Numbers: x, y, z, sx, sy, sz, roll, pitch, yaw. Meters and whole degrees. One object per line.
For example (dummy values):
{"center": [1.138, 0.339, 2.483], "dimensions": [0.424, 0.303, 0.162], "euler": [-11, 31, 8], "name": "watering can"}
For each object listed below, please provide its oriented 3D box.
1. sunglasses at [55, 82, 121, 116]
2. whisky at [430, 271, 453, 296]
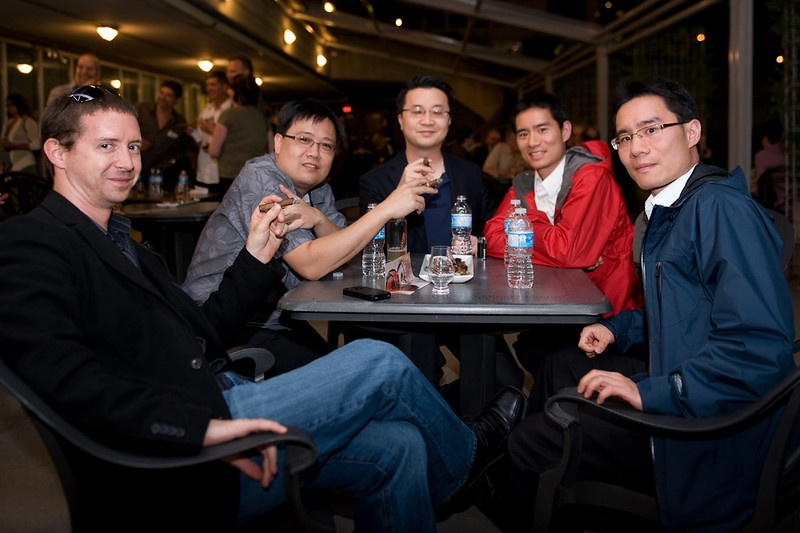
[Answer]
{"center": [-1.010, -0.550, 2.010], "dimensions": [0.149, 0.045, 0.142], "euler": [2, -29, -46], "name": "sunglasses"}
{"center": [0.158, 0.065, 2.368], "dimensions": [0.090, 0.086, 0.080], "euler": [2, -6, -28], "name": "whisky"}
